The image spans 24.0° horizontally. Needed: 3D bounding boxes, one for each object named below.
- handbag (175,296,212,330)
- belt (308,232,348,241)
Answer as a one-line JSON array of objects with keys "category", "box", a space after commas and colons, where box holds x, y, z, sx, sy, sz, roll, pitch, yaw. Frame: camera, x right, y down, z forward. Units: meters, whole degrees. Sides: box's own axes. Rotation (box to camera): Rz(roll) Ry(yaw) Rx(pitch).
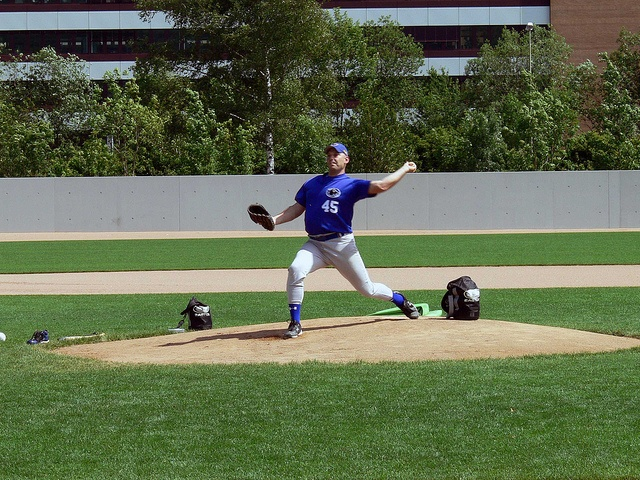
[{"category": "handbag", "box": [-5.910, 3.711, 72.237, 1.219, 1.564, 0.474, -1, 1, -6]}, {"category": "belt", "box": [0.330, -0.048, 70.890, 1.793, 0.357, 0.332, -1, 1, -3]}]
